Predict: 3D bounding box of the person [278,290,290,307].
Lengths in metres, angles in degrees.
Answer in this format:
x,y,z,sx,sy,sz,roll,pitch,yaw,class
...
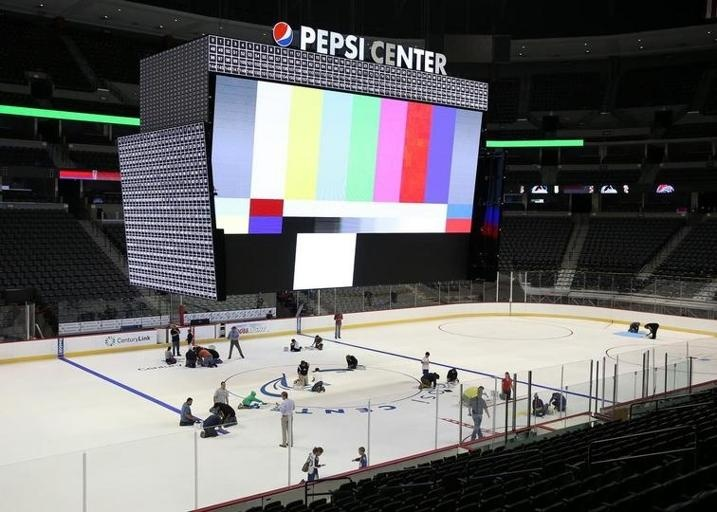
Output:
x,y,z,sx,sy,sz,roll,pitch,yaw,class
-4.076,2.455,42.504,0.897,0.761,0.634,0,4,-7,person

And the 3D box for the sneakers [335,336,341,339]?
x,y,z,sx,sy,sz,roll,pitch,yaw,class
-1.074,4.299,40.186,0.309,0.197,0.102,-3,11,-4,sneakers
